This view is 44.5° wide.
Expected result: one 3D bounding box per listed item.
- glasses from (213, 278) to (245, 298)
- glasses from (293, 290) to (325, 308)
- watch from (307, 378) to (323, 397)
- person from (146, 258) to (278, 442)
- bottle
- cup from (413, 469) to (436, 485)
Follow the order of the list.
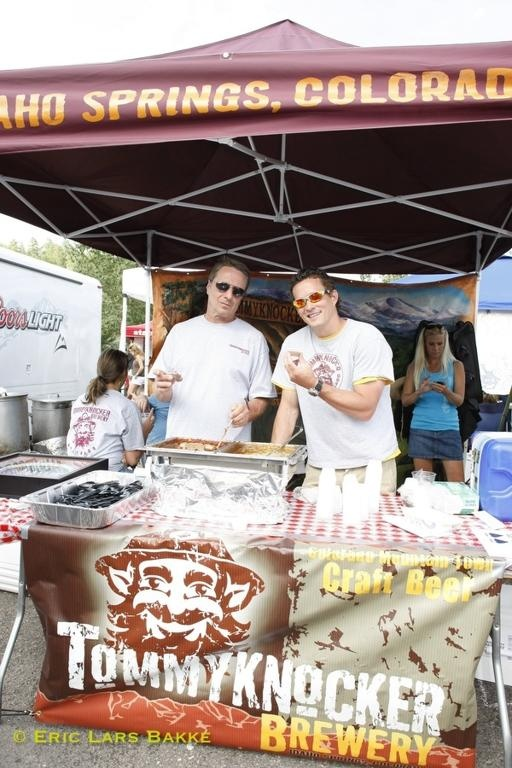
[{"bbox_3d":[-0.132,-0.512,3.390,0.171,0.071,0.074,4,-1,-27],"label":"glasses"},{"bbox_3d":[0.235,-0.394,2.953,0.086,0.074,0.195,5,-2,-43],"label":"glasses"},{"bbox_3d":[0.265,0.020,2.723,0.052,0.068,0.074,26,-37,9],"label":"watch"},{"bbox_3d":[-0.223,-0.102,3.482,0.699,1.121,0.599,5,15,-7],"label":"person"},{"bbox_3d":[0.372,0.436,2.495,0.205,0.225,0.298,3,2,15],"label":"bottle"},{"bbox_3d":[0.673,0.369,2.512,0.068,0.046,0.069,1,-1,0],"label":"cup"}]
